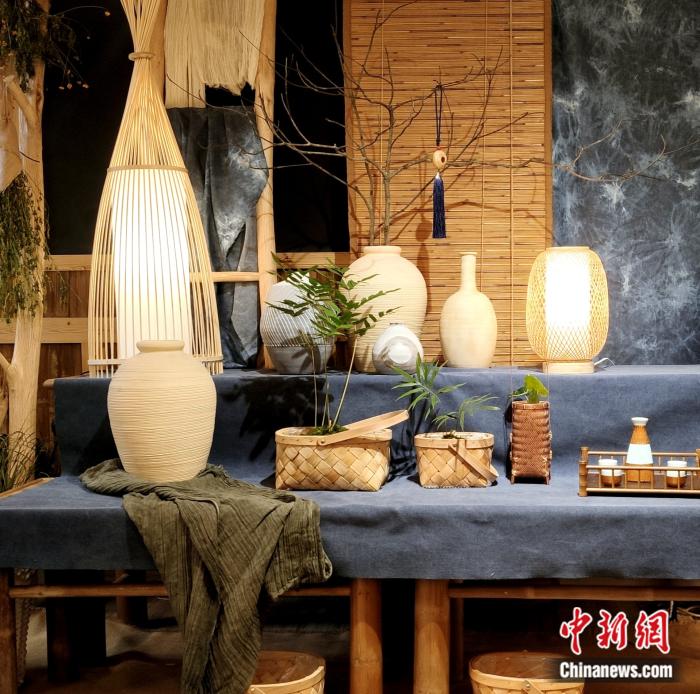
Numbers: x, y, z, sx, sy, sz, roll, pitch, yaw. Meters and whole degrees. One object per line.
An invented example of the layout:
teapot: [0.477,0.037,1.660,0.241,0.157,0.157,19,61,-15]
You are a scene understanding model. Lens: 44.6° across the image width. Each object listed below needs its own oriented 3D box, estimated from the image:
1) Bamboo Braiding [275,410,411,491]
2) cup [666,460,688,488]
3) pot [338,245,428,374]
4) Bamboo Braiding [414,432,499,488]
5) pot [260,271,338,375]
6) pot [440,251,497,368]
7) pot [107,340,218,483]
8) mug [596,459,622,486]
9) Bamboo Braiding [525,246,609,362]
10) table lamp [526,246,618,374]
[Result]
Bamboo Braiding: [-0.028,0.264,2.249,0.309,0.161,0.212,2,-2,5]
cup: [0.828,0.327,2.205,0.067,0.064,0.064,0,-5,0]
pot: [0.107,-0.130,2.718,0.379,0.431,0.364,0,-1,0]
Bamboo Braiding: [0.286,0.296,2.306,0.180,0.090,0.159,-1,-1,5]
pot: [-0.148,-0.064,2.531,0.216,0.280,0.229,1,0,0]
pot: [0.362,-0.115,2.645,0.159,0.353,0.152,1,0,0]
pot: [-0.514,0.163,2.323,0.312,0.344,0.296,-2,0,0]
mug: [0.659,0.319,2.216,0.056,0.064,0.071,2,-9,-4]
Bamboo Braiding: [0.643,-0.116,2.547,0.238,0.360,0.132,1,0,14]
table lamp: [0.659,-0.118,2.613,0.287,0.379,0.245,0,13,15]
